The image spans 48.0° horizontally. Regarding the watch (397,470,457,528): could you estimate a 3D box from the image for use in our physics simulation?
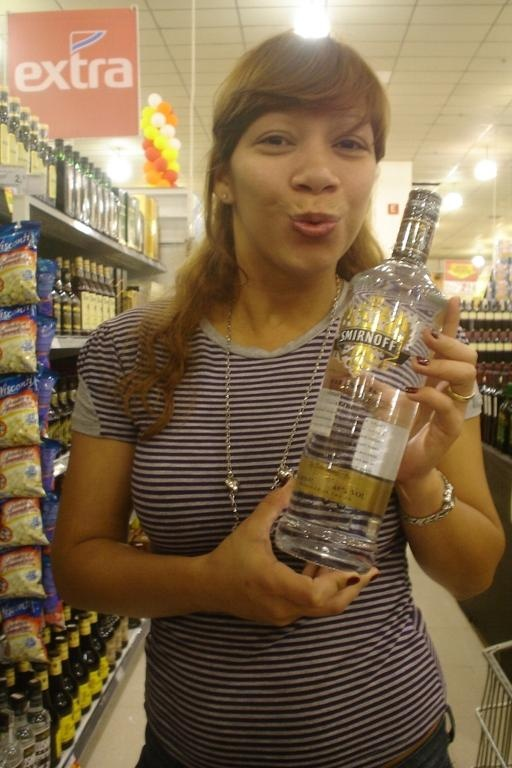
[{"bbox_3d":[0.223,0.151,0.744,0.061,0.070,0.021,-6,-34,31],"label":"watch"}]

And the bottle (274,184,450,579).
[{"bbox_3d":[0.126,0.018,0.675,0.157,0.490,0.255,9,11,4],"label":"bottle"}]
